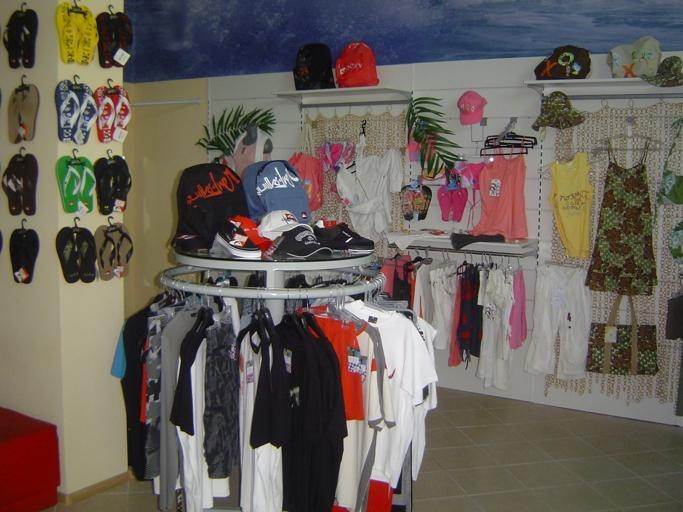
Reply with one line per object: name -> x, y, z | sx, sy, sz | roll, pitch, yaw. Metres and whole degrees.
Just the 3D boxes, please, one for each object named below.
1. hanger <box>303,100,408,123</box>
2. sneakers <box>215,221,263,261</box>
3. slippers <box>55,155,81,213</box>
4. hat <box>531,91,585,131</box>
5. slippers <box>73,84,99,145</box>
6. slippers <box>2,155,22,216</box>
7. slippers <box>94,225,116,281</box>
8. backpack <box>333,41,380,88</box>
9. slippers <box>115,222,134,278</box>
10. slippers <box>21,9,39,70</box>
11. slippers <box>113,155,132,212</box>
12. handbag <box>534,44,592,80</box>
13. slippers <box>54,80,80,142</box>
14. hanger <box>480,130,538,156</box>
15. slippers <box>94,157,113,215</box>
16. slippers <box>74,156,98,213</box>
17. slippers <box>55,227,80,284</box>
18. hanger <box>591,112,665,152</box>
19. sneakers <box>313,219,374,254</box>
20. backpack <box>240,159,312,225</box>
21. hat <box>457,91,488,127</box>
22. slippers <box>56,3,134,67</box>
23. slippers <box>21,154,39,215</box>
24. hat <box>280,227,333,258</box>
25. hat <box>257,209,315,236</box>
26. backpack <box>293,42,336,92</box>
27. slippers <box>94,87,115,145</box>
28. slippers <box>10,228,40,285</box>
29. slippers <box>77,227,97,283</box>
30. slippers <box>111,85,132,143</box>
hanger -> 0.113, -1.453, 5.949 | 1.140, 0.194, 0.110 | 6, 11, 21
sneakers -> -0.547, -0.082, 3.052 | 0.130, 0.157, 0.358 | -2, 11, -36
slippers -> -1.700, -0.448, 3.694 | 0.156, 0.340, 0.073 | -3, 8, -42
hat -> 1.855, -1.206, 4.985 | 0.333, 0.229, 0.329 | -8, 7, -13
slippers -> -1.631, -0.895, 3.750 | 0.136, 0.381, 0.095 | 3, 6, -42
slippers -> -2.130, -0.457, 3.897 | 0.138, 0.424, 0.102 | -1, 7, 14
slippers -> -1.569, -0.019, 3.899 | 0.121, 0.347, 0.078 | -3, 7, -41
backpack -> 0.141, -1.818, 5.569 | 0.419, 0.435, 0.312 | 3, 10, 7
slippers -> -1.481, -0.040, 4.003 | 0.052, 0.317, 0.132 | 5, 6, 35
slippers -> -1.982, -1.388, 3.752 | 0.138, 0.364, 0.044 | 5, 10, 20
slippers -> -1.524, -0.510, 4.012 | 0.045, 0.326, 0.155 | 2, -2, 40
handbag -> 1.875, -1.633, 4.966 | 0.448, 0.286, 0.220 | 6, 11, 21
slippers -> -1.722, -0.916, 3.704 | 0.124, 0.392, 0.110 | -6, 12, -35
hanger -> 1.544, -1.028, 5.401 | 0.502, 0.230, 0.113 | 4, 10, 14
slippers -> -1.564, -0.469, 3.876 | 0.066, 0.340, 0.123 | 4, 3, 42
slippers -> -1.647, -0.469, 3.801 | 0.071, 0.324, 0.109 | 4, 9, 27
slippers -> -1.743, -0.016, 3.745 | 0.081, 0.331, 0.151 | 2, 4, 41
hanger -> 2.468, -1.076, 5.050 | 0.639, 0.389, 0.126 | 3, 10, 6
sneakers -> 0.016, -0.100, 3.381 | 0.411, 0.178, 0.157 | 15, 5, 14
backpack -> -0.333, -0.404, 3.652 | 0.419, 0.445, 0.314 | 3, 12, 45
hat -> 1.217, -1.378, 5.452 | 0.269, 0.313, 0.167 | 4, 10, 13
slippers -> -1.589, -1.408, 3.744 | 0.349, 0.419, 0.117 | -6, 10, -36
slippers -> -2.013, -0.459, 3.796 | 0.127, 0.383, 0.101 | 1, 0, 23
hat -> -0.195, -0.091, 3.037 | 0.204, 0.114, 0.147 | 11, 11, 37
hat -> -0.338, -0.184, 3.195 | 0.139, 0.078, 0.201 | -18, 15, -40
backpack -> -0.312, -1.901, 5.898 | 0.453, 0.512, 0.376 | 1, 12, -8
slippers -> -1.547, -0.917, 3.836 | 0.120, 0.355, 0.089 | -4, 10, -38
slippers -> -2.073, -0.015, 3.894 | 0.205, 0.384, 0.086 | 2, 3, 17
slippers -> -1.651, 0.004, 3.814 | 0.108, 0.315, 0.080 | 0, 0, -44
slippers -> -1.488, -0.965, 3.955 | 0.087, 0.348, 0.124 | 6, 3, 36
